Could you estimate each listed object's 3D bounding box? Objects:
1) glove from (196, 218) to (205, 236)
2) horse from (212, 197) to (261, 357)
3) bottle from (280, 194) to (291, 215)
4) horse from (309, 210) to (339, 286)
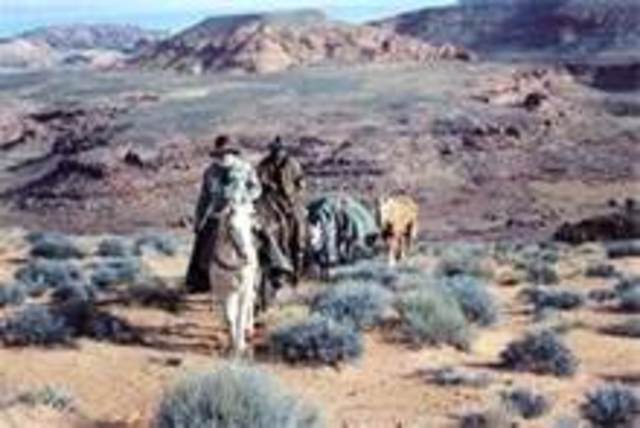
[{"bbox_3d":[-4.153,0.423,19.653,0.165,0.497,0.372,4,-8,26],"label":"glove"},{"bbox_3d":[-2.473,2.025,18.503,1.225,4.826,1.526,-2,4,-42],"label":"horse"},{"bbox_3d":[-1.288,-0.320,21.106,0.272,0.680,0.373,-38,-12,16],"label":"bottle"},{"bbox_3d":[0.114,1.283,23.003,1.097,2.827,2.086,1,3,5],"label":"horse"}]
